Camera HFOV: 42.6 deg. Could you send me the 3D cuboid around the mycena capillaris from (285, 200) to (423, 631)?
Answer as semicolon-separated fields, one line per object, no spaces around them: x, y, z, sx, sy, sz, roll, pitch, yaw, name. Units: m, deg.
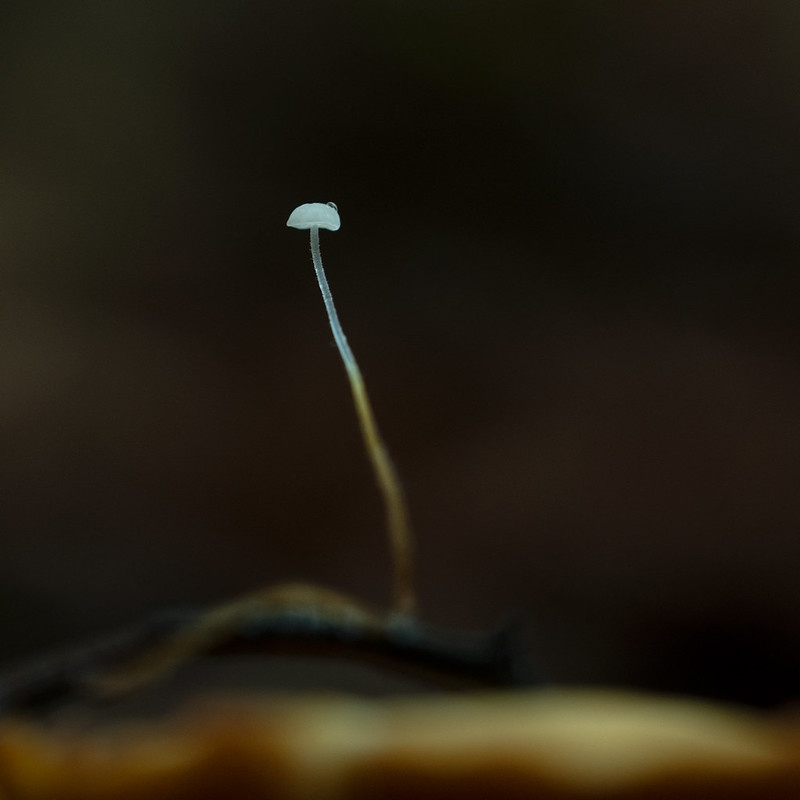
-0.047;0.027;1.265;0.062;0.475;0.160;-11;-20;9;mycena capillaris
